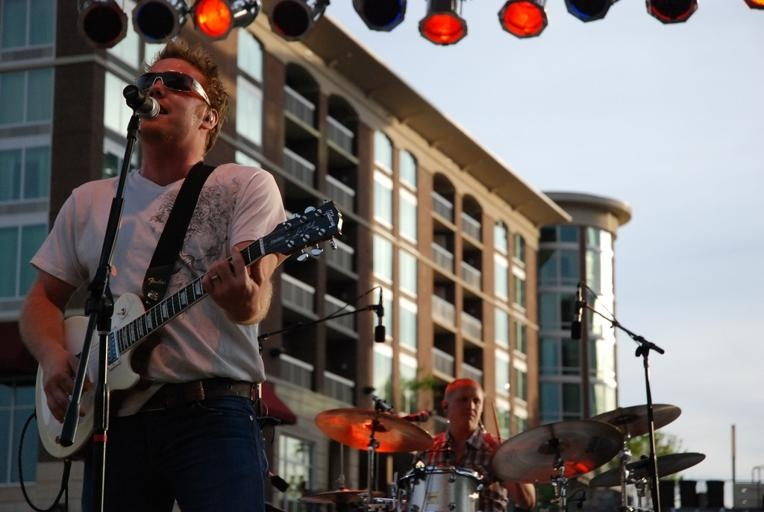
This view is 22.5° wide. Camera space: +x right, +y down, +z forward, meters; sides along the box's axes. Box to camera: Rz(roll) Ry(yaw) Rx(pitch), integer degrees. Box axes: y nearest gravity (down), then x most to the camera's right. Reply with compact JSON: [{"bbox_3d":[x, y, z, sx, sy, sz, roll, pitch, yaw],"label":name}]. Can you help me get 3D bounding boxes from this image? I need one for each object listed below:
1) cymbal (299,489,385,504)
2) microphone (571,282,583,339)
[{"bbox_3d":[-0.828,5.405,42.916,1.043,0.211,1.097,4,-14,-34],"label":"cymbal"},{"bbox_3d":[4.556,1.349,44.907,0.254,1.225,0.248,1,-1,30],"label":"microphone"}]
